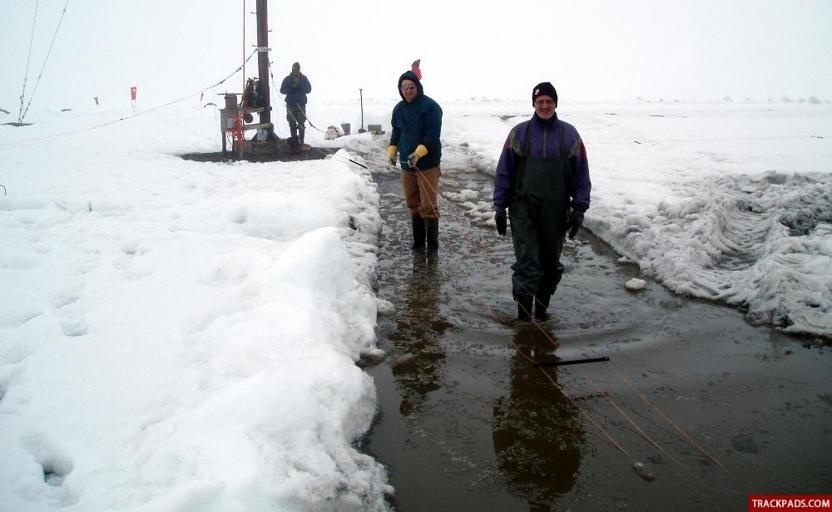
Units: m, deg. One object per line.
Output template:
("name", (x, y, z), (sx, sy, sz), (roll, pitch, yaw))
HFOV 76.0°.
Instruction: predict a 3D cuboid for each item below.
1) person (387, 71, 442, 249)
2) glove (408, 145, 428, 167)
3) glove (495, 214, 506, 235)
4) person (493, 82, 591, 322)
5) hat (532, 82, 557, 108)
("person", (0.002, -1.498, 8.556), (0.854, 2.843, 0.610), (4, 15, 9))
("glove", (0.036, -1.579, 8.326), (0.347, 0.223, 0.148), (-31, -17, 37))
("glove", (1.117, -0.417, 6.957), (0.109, 0.276, 0.161), (-5, 21, 8))
("person", (1.573, -0.666, 6.699), (1.163, 2.887, 0.737), (4, 15, 9))
("hat", (1.573, -1.989, 6.501), (0.289, 0.234, 0.497), (5, 16, 11))
